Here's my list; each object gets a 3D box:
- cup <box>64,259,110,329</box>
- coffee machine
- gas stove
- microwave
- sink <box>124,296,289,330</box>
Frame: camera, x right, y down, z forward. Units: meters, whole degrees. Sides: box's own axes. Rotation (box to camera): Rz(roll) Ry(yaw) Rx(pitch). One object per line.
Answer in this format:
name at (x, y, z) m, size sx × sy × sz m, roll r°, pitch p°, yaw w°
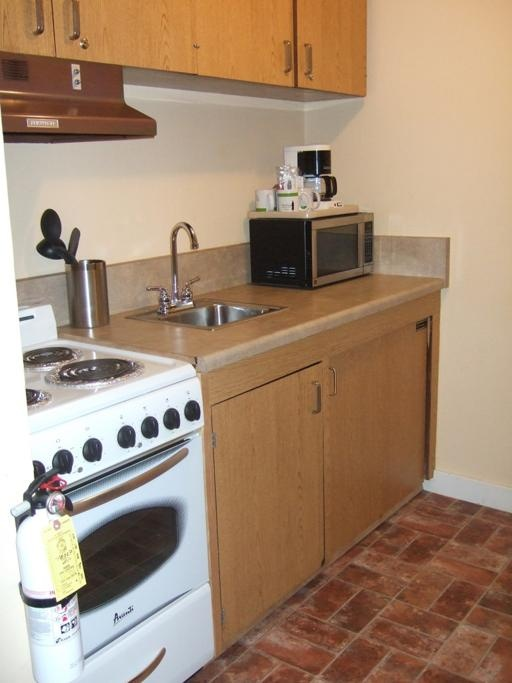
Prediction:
cup at (-0.533, -0.152, 1.822) m, size 0.121 × 0.214 × 0.104 m, roll -6°, pitch 10°, yaw -19°
coffee machine at (0.269, -0.732, 2.503) m, size 0.282 × 0.364 × 0.202 m, roll 2°, pitch 21°, yaw 15°
gas stove at (-0.418, 0.068, 1.345) m, size 0.420 × 0.232 × 0.471 m, roll 23°, pitch 24°, yaw 37°
microwave at (0.310, -0.420, 2.467) m, size 0.538 × 0.345 × 0.437 m, roll -13°, pitch 23°, yaw -40°
sink at (-0.192, -0.112, 1.954) m, size 0.393 × 0.128 × 0.290 m, roll 9°, pitch 16°, yaw 39°
